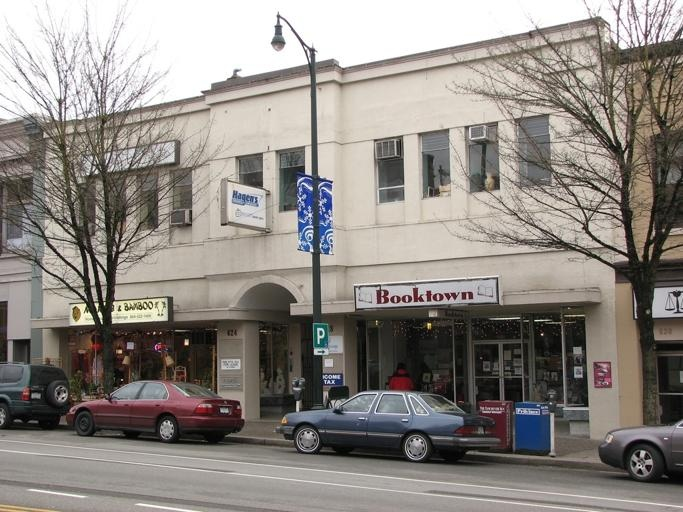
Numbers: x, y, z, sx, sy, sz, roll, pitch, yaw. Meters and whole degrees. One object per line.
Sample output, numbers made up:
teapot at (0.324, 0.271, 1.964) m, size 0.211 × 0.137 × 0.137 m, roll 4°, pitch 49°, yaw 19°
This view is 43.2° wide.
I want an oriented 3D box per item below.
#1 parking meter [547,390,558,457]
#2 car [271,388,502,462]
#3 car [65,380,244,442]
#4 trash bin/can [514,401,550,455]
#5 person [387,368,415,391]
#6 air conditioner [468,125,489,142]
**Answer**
parking meter at (5.413, 4.356, 22.102) m, size 0.319 × 1.720 × 0.335 m, roll 4°, pitch -11°, yaw -5°
car at (1.352, 4.010, 22.141) m, size 4.470 × 1.467 × 2.158 m, roll -2°, pitch -12°, yaw 27°
car at (-5.320, 4.483, 24.817) m, size 4.564 × 1.759 × 1.097 m, roll -7°, pitch -10°, yaw 24°
trash bin/can at (4.939, 4.465, 22.316) m, size 0.990 × 1.337 × 0.480 m, roll -5°, pitch -9°, yaw 15°
person at (1.871, 3.861, 27.053) m, size 0.622 × 0.682 × 0.869 m, roll -3°, pitch -10°, yaw 1°
air conditioner at (4.373, -3.853, 27.445) m, size 0.761 × 0.584 × 0.427 m, roll 0°, pitch 3°, yaw 30°
